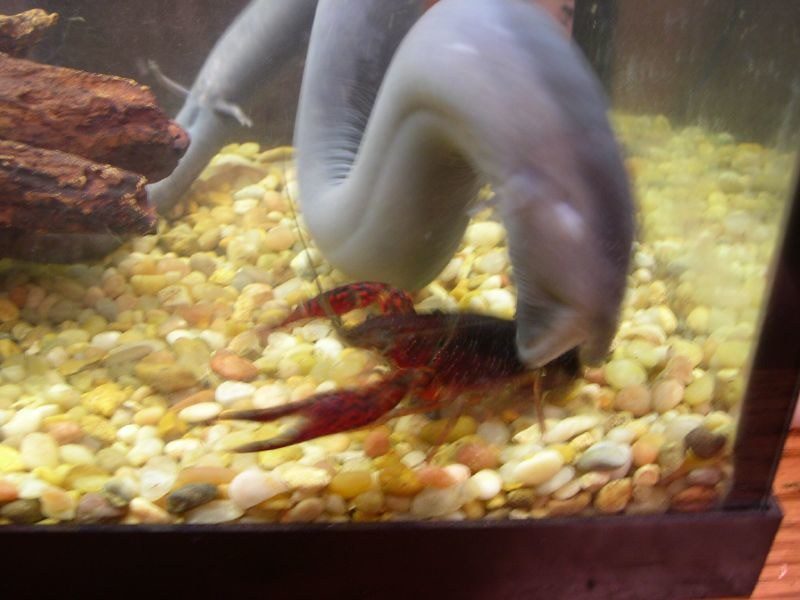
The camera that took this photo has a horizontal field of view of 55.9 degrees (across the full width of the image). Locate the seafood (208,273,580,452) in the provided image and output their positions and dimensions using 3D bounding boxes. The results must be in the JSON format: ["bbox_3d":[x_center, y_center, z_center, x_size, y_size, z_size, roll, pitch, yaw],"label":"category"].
[{"bbox_3d":[0.003,0.090,1.056,0.429,0.122,0.243,-4,61,-4],"label":"seafood"}]
